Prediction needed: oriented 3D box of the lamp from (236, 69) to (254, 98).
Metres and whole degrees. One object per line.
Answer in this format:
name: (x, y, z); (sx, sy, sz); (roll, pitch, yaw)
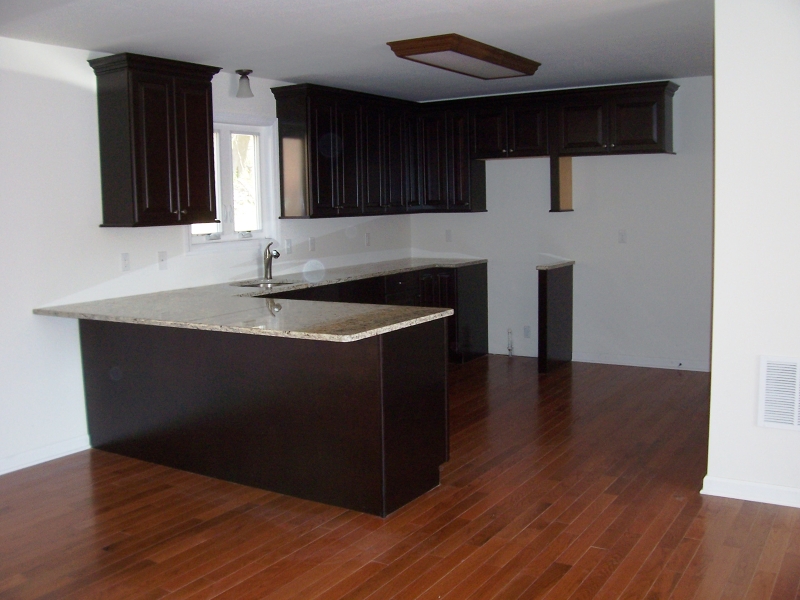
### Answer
lamp: (-1.327, -1.826, 5.388); (0.198, 0.220, 0.204); (-3, 7, -25)

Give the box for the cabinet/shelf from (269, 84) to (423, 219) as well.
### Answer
cabinet/shelf: (-0.579, -1.456, 6.108); (0.351, 0.884, 1.237); (5, 10, 32)

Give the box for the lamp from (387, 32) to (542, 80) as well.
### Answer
lamp: (0.510, -1.812, 4.691); (1.214, 0.136, 0.512); (-10, 14, -38)

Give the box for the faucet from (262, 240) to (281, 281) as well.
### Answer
faucet: (-1.165, -0.369, 5.760); (0.168, 0.313, 0.527); (-3, 11, -10)

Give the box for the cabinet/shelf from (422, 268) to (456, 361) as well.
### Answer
cabinet/shelf: (0.424, 0.158, 6.730); (0.340, 0.958, 0.308); (0, 12, 4)
